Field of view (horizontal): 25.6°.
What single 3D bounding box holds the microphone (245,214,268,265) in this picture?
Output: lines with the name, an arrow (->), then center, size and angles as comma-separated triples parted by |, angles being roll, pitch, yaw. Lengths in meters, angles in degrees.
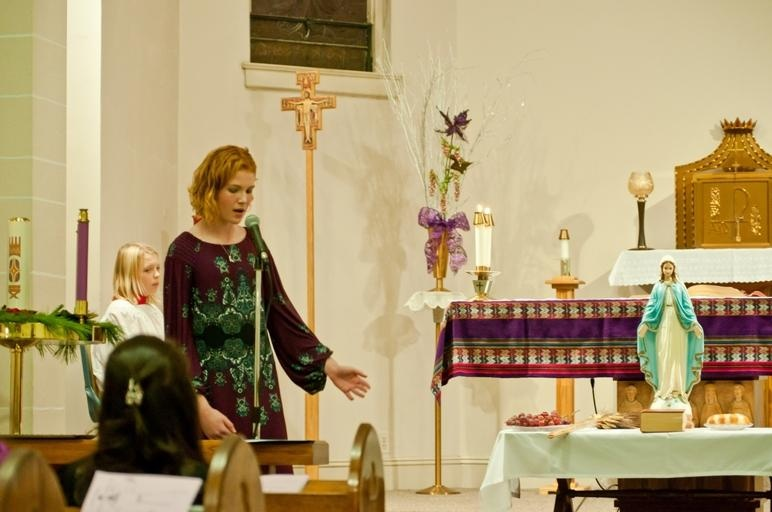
microphone -> -0.759, -0.105, 9.896 | 0.089, 0.084, 0.352 | -8, 42, -9

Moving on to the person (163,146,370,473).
person -> -0.781, 0.549, 9.998 | 1.206, 2.299, 0.975 | -9, 23, -27

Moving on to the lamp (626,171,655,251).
lamp -> 2.020, -0.365, 13.451 | 0.203, 0.687, 0.685 | -1, -4, 9

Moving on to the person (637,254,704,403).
person -> 1.843, 0.494, 11.021 | 0.412, 0.970, 0.225 | -1, -3, 9

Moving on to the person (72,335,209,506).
person -> -1.255, 0.840, 8.731 | 0.651, 0.833, 0.165 | 0, -3, -7
